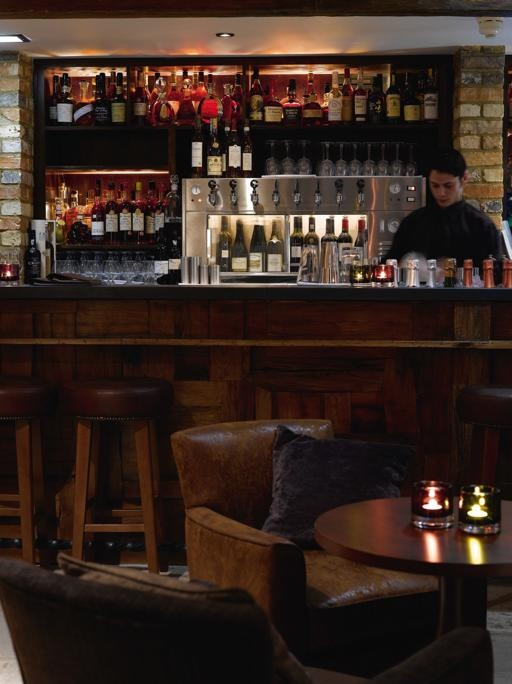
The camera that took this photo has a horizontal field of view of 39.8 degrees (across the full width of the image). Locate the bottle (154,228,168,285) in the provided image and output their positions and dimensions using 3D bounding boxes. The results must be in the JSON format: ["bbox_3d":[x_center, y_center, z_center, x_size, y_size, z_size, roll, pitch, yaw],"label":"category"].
[{"bbox_3d":[-0.613,-0.648,4.625,0.082,0.226,0.209,-3,7,-7],"label":"bottle"}]

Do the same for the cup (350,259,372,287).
[{"bbox_3d":[0.411,-0.270,2.783,0.077,0.075,0.078,1,1,0],"label":"cup"}]

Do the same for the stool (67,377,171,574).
[{"bbox_3d":[-0.474,0.487,2.500,0.363,0.729,0.373,-4,7,-16],"label":"stool"}]

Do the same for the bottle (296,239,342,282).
[{"bbox_3d":[0.262,-0.328,2.917,0.172,0.173,0.140,-2,7,1],"label":"bottle"}]

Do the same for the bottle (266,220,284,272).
[{"bbox_3d":[0.120,-0.611,4.504,0.116,0.332,0.102,-2,6,1],"label":"bottle"}]

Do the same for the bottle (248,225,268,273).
[{"bbox_3d":[0.009,-0.601,4.522,0.116,0.308,0.089,-2,6,0],"label":"bottle"}]

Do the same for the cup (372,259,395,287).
[{"bbox_3d":[0.499,-0.276,2.805,0.089,0.104,0.091,1,8,0],"label":"cup"}]

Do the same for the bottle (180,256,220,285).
[{"bbox_3d":[-0.222,-0.288,2.861,0.169,0.118,0.114,0,4,-1],"label":"bottle"}]

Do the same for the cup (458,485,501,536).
[{"bbox_3d":[0.408,0.315,1.329,0.078,0.085,0.081,0,0,0],"label":"cup"}]

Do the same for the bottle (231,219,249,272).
[{"bbox_3d":[-0.104,-0.615,4.518,0.109,0.329,0.103,-2,6,0],"label":"bottle"}]

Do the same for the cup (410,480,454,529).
[{"bbox_3d":[0.333,0.305,1.348,0.080,0.080,0.083,0,-1,0],"label":"cup"}]

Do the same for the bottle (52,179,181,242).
[{"bbox_3d":[-0.920,-0.865,4.711,0.471,0.308,0.260,0,6,6],"label":"bottle"}]

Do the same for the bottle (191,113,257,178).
[{"bbox_3d":[-0.208,-1.261,4.622,0.429,0.391,0.347,-3,7,-8],"label":"bottle"}]

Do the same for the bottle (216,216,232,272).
[{"bbox_3d":[-0.202,-0.628,4.527,0.104,0.354,0.063,-2,6,-2],"label":"bottle"}]
